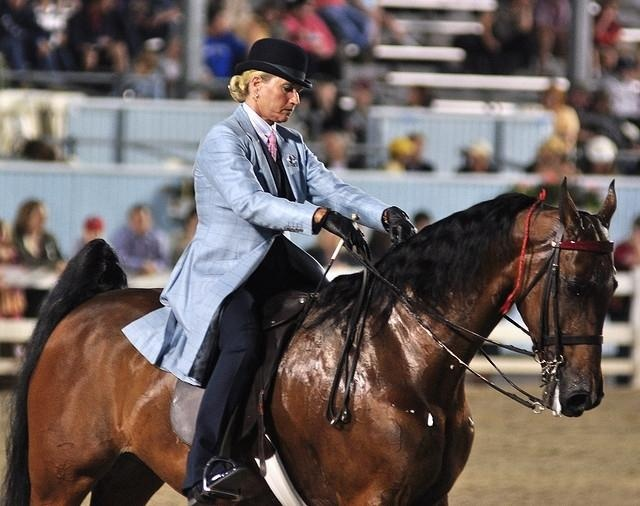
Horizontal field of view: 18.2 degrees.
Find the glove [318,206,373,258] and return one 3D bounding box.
[{"bbox_3d":[0.213,-0.157,17.079,0.129,0.475,0.277,-33,19,24],"label":"glove"}]

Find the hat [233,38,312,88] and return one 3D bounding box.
[{"bbox_3d":[-0.369,-1.713,17.323,0.486,0.275,0.423,11,1,13],"label":"hat"}]

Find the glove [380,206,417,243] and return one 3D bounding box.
[{"bbox_3d":[0.652,-0.218,17.297,0.215,0.355,0.104,5,-34,-36],"label":"glove"}]
